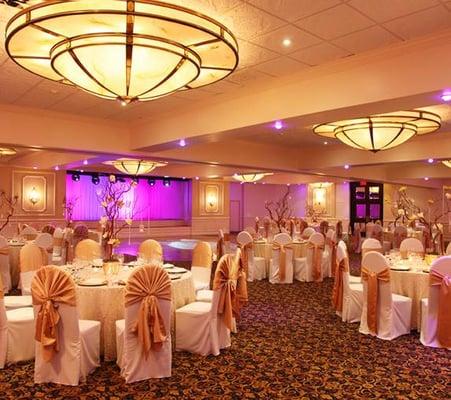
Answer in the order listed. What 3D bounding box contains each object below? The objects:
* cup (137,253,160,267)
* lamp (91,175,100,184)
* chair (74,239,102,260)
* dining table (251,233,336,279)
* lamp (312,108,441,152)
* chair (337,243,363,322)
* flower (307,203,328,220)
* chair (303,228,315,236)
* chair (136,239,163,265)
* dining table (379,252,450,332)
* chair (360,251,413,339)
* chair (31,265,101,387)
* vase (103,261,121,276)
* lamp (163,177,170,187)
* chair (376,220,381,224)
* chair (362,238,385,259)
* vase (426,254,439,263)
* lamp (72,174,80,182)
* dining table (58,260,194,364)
[{"bbox_3d":[-1.017,0.805,4.364,0.320,0.230,0.312,0,-9,0],"label":"cup"},{"bbox_3d":[-6.151,-0.937,15.749,0.426,0.500,0.175,0,-1,-13],"label":"lamp"},{"bbox_3d":[-2.355,0.858,5.677,0.436,0.332,0.345,1,0,30],"label":"chair"},{"bbox_3d":[1.661,1.345,8.213,1.374,0.805,1.348,0,0,-39],"label":"dining table"},{"bbox_3d":[3.029,-1.296,6.262,1.371,0.478,1.360,-2,0,-2],"label":"lamp"},{"bbox_3d":[1.870,1.239,5.037,0.378,0.935,0.382,1,1,19],"label":"chair"},{"bbox_3d":[5.496,0.687,19.832,0.991,0.944,0.537,-3,3,41],"label":"flower"},{"bbox_3d":[2.439,0.956,9.795,0.239,0.333,0.283,1,-6,36],"label":"chair"},{"bbox_3d":[-1.173,0.836,5.440,0.397,0.542,0.439,0,-7,6],"label":"chair"},{"bbox_3d":[2.807,1.185,4.998,1.033,0.801,1.089,1,3,27],"label":"dining table"},{"bbox_3d":[2.176,1.248,4.499,0.644,0.995,0.350,1,1,-15],"label":"chair"},{"bbox_3d":[-1.530,1.155,3.194,0.614,1.080,0.410,1,1,-22],"label":"chair"},{"bbox_3d":[-1.368,0.819,4.056,0.197,0.139,0.182,-1,-3,9],"label":"vase"},{"bbox_3d":[-3.138,-0.963,17.712,0.452,0.445,0.144,0,-7,6],"label":"lamp"},{"bbox_3d":[7.268,1.044,15.844,0.240,0.173,0.344,-3,-8,17],"label":"chair"},{"bbox_3d":[2.377,0.765,5.444,0.338,0.473,0.386,0,-4,8],"label":"chair"},{"bbox_3d":[3.133,0.887,5.087,0.198,0.146,0.190,-3,-5,38],"label":"vase"},{"bbox_3d":[-6.808,-1.009,15.082,0.274,0.354,0.342,5,3,-18],"label":"lamp"},{"bbox_3d":[-1.336,1.169,3.985,1.109,0.544,1.099,2,-8,-18],"label":"dining table"}]
